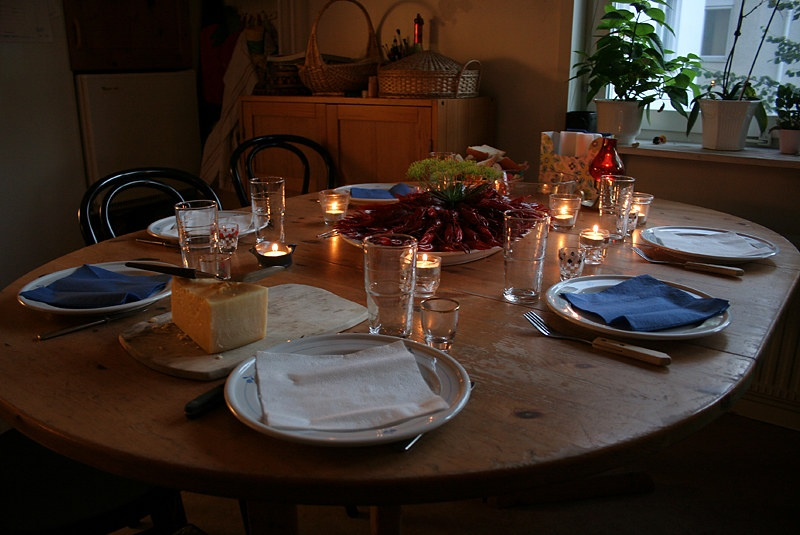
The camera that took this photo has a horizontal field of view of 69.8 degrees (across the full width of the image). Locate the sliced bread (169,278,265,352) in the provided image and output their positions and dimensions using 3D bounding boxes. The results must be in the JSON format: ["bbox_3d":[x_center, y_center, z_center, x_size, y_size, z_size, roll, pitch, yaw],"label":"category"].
[{"bbox_3d":[-0.399,0.104,1.302,0.231,0.095,0.132,15,18,36],"label":"sliced bread"}]

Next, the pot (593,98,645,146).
[{"bbox_3d":[1.087,-0.740,2.894,0.232,0.227,0.150,9,24,23],"label":"pot"}]

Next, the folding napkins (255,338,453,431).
[{"bbox_3d":[-0.107,0.232,1.092,0.222,0.033,0.207,-4,19,-11],"label":"folding napkins"}]

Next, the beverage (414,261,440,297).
[{"bbox_3d":[0.072,0.032,1.492,0.109,0.082,0.095,1,8,3],"label":"beverage"}]

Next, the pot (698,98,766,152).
[{"bbox_3d":[1.481,-0.649,2.655,0.326,0.178,0.265,0,10,0],"label":"pot"}]

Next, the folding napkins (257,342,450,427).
[{"bbox_3d":[-0.101,0.238,1.102,0.216,0.029,0.201,-5,20,-11],"label":"folding napkins"}]

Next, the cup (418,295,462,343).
[{"bbox_3d":[0.099,0.117,1.338,0.113,0.099,0.111,-1,8,0],"label":"cup"}]

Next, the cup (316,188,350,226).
[{"bbox_3d":[-0.228,-0.217,2.085,0.160,0.125,0.131,2,15,7],"label":"cup"}]

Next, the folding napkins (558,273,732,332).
[{"bbox_3d":[0.587,0.090,1.387,0.211,0.024,0.188,-13,18,-34],"label":"folding napkins"}]

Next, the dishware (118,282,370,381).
[{"bbox_3d":[-0.337,0.152,1.305,0.363,0.013,0.242,-10,18,-34],"label":"dishware"}]

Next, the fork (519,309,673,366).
[{"bbox_3d":[0.456,0.165,1.296,0.369,0.042,0.047,14,16,32],"label":"fork"}]

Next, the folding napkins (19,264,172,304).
[{"bbox_3d":[-0.775,0.061,1.437,0.248,0.020,0.214,14,32,10],"label":"folding napkins"}]
